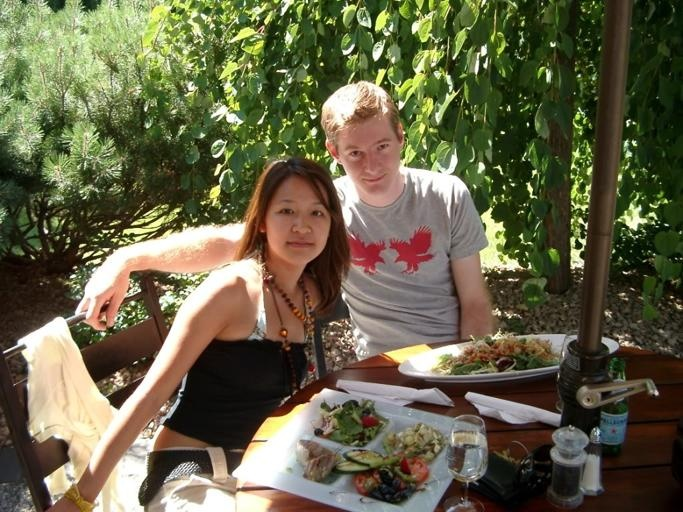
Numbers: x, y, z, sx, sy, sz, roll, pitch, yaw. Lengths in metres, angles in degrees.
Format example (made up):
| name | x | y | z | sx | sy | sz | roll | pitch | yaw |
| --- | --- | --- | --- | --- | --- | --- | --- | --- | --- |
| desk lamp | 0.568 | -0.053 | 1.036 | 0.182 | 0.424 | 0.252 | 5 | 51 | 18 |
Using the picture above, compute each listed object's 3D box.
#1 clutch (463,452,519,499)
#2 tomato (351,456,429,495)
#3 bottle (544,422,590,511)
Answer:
| name | x | y | z | sx | sy | sz | roll | pitch | yaw |
| --- | --- | --- | --- | --- | --- | --- | --- | --- | --- |
| clutch | 0.313 | 0.442 | 1.042 | 0.086 | 0.071 | 0.079 | 5 | 7 | 35 |
| tomato | 0.090 | 0.446 | 1.063 | 0.150 | 0.055 | 0.169 | 0 | 6 | -2 |
| bottle | 0.437 | 0.417 | 0.969 | 0.083 | 0.152 | 0.086 | -9 | 7 | 1 |
